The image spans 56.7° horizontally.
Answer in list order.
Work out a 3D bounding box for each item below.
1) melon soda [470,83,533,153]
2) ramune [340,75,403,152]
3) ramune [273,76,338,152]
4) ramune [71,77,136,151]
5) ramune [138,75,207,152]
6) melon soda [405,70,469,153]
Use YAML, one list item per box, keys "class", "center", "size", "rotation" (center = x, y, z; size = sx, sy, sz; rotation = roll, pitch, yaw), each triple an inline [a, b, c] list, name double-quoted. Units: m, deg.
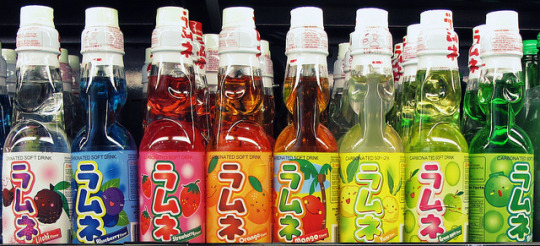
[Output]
- class: "melon soda"
  center: [0.709, -0.007, 1.539]
  size: [0.123, 0.294, 0.120]
  rotation: [3, 7, 15]
- class: "ramune"
  center: [0.296, -0.028, 1.571]
  size: [0.215, 0.241, 0.114]
  rotation: [-3, -5, 23]
- class: "ramune"
  center: [0.106, -0.026, 1.552]
  size: [0.190, 0.235, 0.057]
  rotation: [-2, -5, 6]
- class: "ramune"
  center: [-0.518, -0.028, 1.554]
  size: [0.180, 0.233, 0.058]
  rotation: [0, -5, -13]
- class: "ramune"
  center: [-0.303, -0.030, 1.546]
  size: [0.193, 0.242, 0.056]
  rotation: [-1, -5, -9]
- class: "melon soda"
  center: [0.510, -0.037, 1.555]
  size: [0.183, 0.258, 0.055]
  rotation: [-2, -5, 10]
